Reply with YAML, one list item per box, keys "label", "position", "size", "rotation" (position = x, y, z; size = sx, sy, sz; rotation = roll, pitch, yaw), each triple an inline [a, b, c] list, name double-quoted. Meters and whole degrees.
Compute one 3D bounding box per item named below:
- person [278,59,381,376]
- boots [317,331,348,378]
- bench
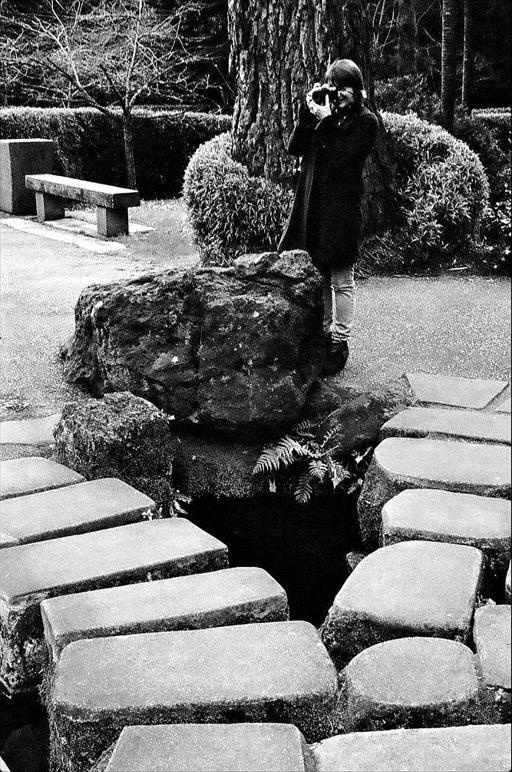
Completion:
- label: "person"
  position: [0.414, -0.967, 5.602]
  size: [0.530, 1.781, 0.422]
  rotation: [0, 7, 6]
- label: "boots"
  position: [0.453, -0.183, 5.651]
  size: [0.126, 0.300, 0.274]
  rotation: [10, 40, 16]
- label: "bench"
  position: [-2.341, -2.421, 12.674]
  size: [0.451, 0.669, 2.089]
  rotation: [-17, 26, -40]
